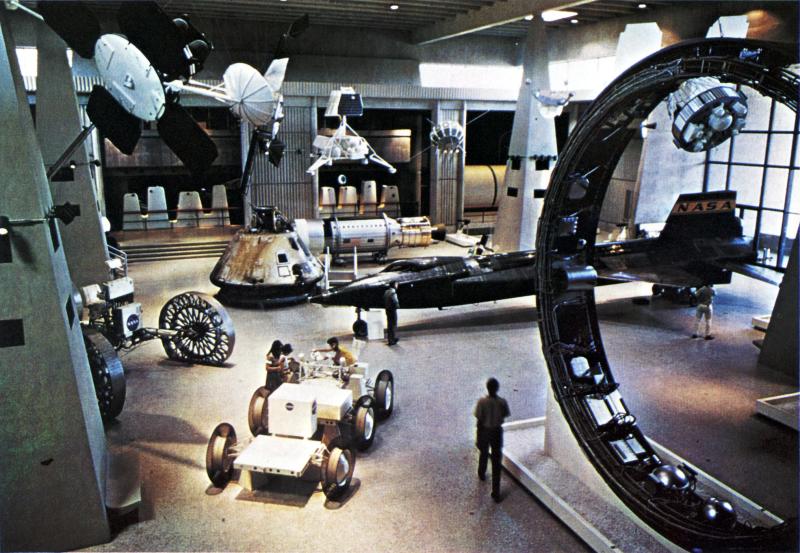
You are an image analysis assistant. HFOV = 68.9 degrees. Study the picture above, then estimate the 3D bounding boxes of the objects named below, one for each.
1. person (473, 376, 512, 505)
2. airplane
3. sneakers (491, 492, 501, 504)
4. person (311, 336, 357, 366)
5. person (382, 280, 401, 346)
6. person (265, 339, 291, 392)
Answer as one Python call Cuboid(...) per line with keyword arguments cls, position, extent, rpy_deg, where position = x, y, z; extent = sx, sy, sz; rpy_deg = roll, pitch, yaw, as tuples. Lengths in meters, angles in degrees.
Cuboid(cls="person", position=(1.456, 2.528, 9.308), extent=(0.519, 1.934, 0.692), rpy_deg=(-1, 9, 7))
Cuboid(cls="airplane", position=(4.861, -0.309, 17.186), extent=(10.748, 3.398, 5.465), rpy_deg=(-2, 2, -19))
Cuboid(cls="sneakers", position=(1.509, 3.470, 9.123), extent=(0.176, 0.141, 0.235), rpy_deg=(-1, -16, 35))
Cuboid(cls="person", position=(-1.157, 1.378, 11.103), extent=(0.819, 0.519, 0.980), rpy_deg=(0, 9, 13))
Cuboid(cls="person", position=(-0.221, 0.995, 14.626), extent=(0.306, 1.408, 0.765), rpy_deg=(-2, 8, -2))
Cuboid(cls="person", position=(-2.306, 1.805, 10.904), extent=(0.432, 1.246, 0.425), rpy_deg=(9, 18, 26))
